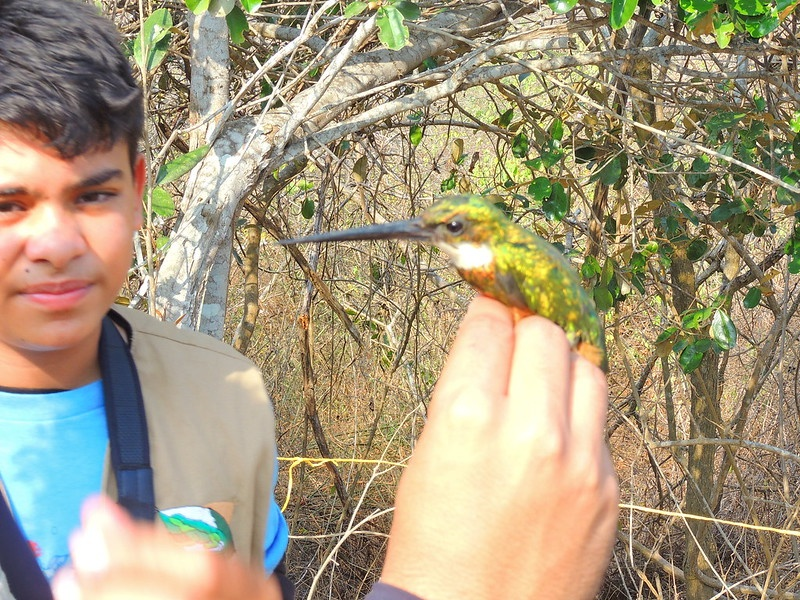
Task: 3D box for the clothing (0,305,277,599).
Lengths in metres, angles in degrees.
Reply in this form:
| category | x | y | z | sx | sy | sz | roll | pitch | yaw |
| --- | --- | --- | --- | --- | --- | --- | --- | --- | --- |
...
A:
| category | x | y | z | sx | sy | sz | roll | pitch | yaw |
| --- | --- | --- | --- | --- | --- | --- | --- | --- | --- |
| clothing | -0.705 | 0.397 | 1.970 | 0.671 | 0.667 | 0.362 | 7 | -30 | -23 |
